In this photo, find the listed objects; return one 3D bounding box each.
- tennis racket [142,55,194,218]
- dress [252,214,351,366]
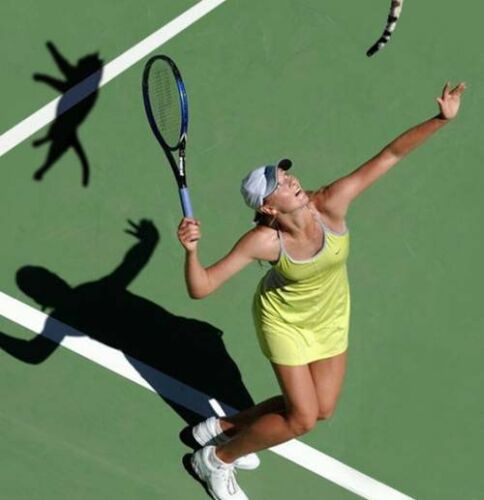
[{"bbox_3d":[-0.531,-0.964,4.411,0.352,0.092,1.673,-5,65,-19],"label":"tennis racket"},{"bbox_3d":[0.418,0.217,3.990,0.583,1.105,0.462,-8,27,-6],"label":"dress"}]
